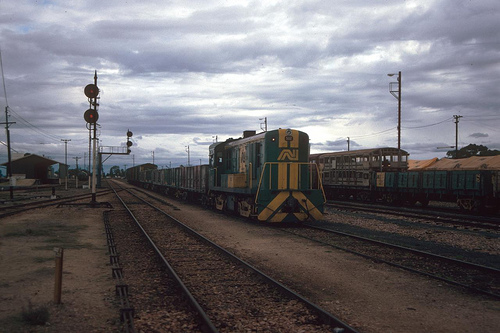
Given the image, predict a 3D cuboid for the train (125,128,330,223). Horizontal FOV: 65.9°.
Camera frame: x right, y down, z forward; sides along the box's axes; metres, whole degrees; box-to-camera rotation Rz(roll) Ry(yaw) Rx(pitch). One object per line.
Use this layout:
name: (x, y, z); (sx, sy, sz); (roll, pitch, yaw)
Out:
train: (-4.253, 0.627, 34.439); (5.947, 4.763, 37.063); (2, 1, -23)

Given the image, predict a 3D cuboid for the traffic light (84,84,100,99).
traffic light: (-10.006, -4.699, 23.994); (0.733, 0.910, 0.713); (-1, -1, -8)

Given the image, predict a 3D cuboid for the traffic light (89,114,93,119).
traffic light: (-10.093, -3.153, 24.210); (0.209, 0.258, 0.096); (-1, -1, -15)
